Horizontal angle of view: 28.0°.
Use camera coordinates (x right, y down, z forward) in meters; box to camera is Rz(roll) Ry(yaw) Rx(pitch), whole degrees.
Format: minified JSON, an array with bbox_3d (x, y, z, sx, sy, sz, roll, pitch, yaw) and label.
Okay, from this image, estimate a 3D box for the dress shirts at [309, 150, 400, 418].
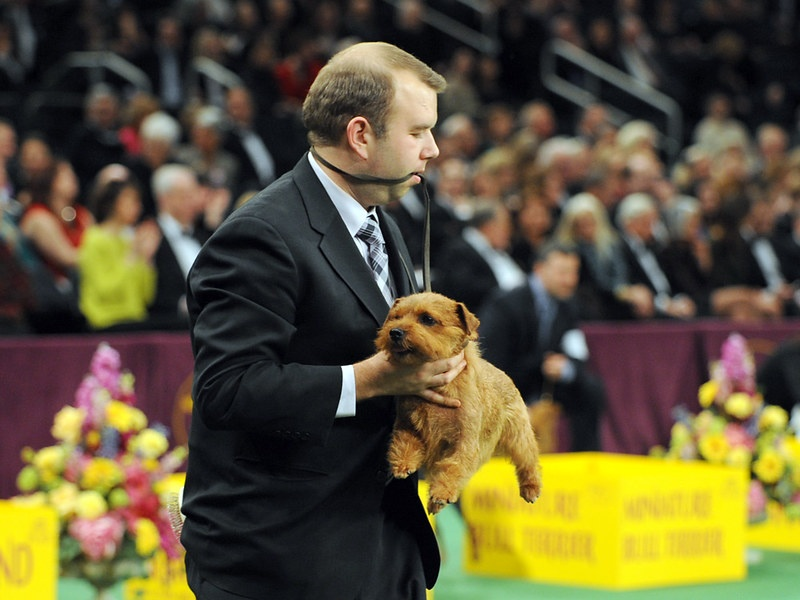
[{"bbox_3d":[-0.305,-0.068,9.972,0.321,1.401,1.405,-12,-13,23],"label":"dress shirts"}]
